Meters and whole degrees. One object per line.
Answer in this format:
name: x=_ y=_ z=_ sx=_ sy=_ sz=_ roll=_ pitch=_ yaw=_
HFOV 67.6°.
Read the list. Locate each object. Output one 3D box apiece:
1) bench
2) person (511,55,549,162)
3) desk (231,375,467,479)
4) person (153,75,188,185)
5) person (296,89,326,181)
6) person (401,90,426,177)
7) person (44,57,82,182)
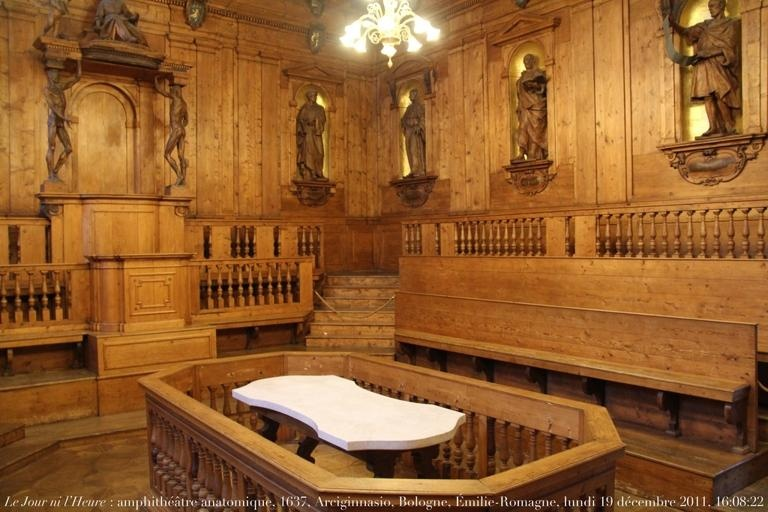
bench: x=2.187 y=1.520 z=8.442 sx=0.851 sy=1.290 sz=5.739 roll=-2 pitch=1 yaw=-36
person: x=2.755 y=-2.758 z=10.757 sx=0.591 sy=1.972 sz=0.328 roll=-1 pitch=4 yaw=11
desk: x=-0.318 y=1.720 z=5.320 sx=1.990 sy=0.878 sz=1.058 roll=1 pitch=5 yaw=42
person: x=-3.967 y=-2.314 z=10.781 sx=0.532 sy=2.073 sz=1.385 roll=-4 pitch=4 yaw=-20
person: x=-1.672 y=-2.718 z=13.039 sx=0.729 sy=1.974 sz=0.227 roll=-3 pitch=4 yaw=-18
person: x=0.677 y=-2.749 z=12.832 sx=0.252 sy=1.968 sz=0.756 roll=-5 pitch=5 yaw=-35
person: x=-5.569 y=-2.287 z=9.962 sx=0.566 sy=2.057 sz=1.140 roll=-4 pitch=5 yaw=-29
